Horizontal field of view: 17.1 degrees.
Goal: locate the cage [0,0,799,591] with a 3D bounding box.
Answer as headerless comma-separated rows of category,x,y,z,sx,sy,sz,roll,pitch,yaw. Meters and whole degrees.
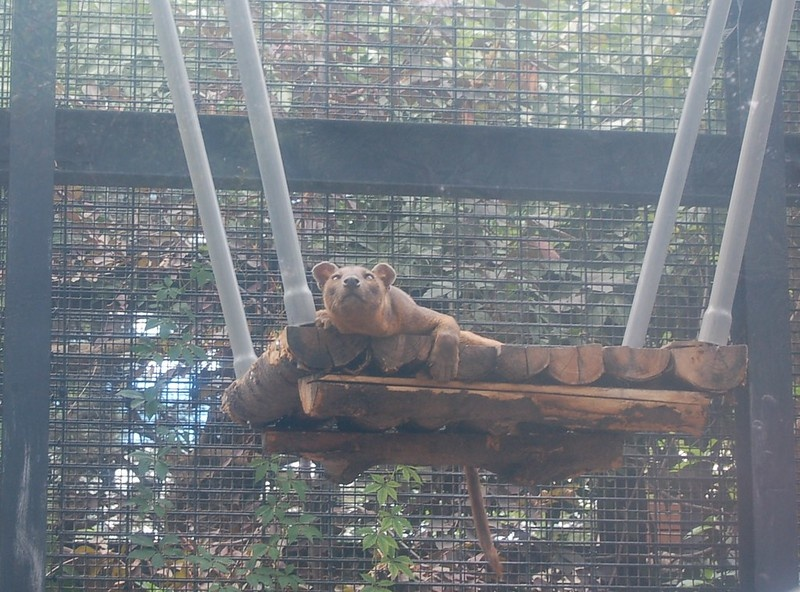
cage,-0.055,0.119,17.323,3.615,3.559,1.212,-1,-9,-8
